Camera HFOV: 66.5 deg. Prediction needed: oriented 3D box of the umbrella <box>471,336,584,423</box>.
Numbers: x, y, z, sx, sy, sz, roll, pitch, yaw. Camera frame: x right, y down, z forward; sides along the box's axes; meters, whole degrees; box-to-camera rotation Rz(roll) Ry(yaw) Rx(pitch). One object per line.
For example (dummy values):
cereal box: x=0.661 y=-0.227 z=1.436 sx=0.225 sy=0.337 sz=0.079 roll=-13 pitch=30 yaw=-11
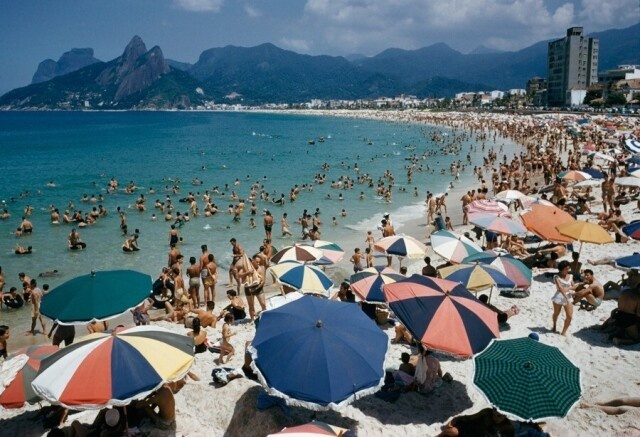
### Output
umbrella: x=5.135 y=4.055 z=12.248 sx=2.148 sy=1.017 sz=2.201 roll=31 pitch=65 yaw=24

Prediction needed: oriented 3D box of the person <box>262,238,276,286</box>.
person: x=-2.065 y=1.857 z=19.852 sx=0.651 sy=1.752 sz=0.694 roll=5 pitch=57 yaw=4

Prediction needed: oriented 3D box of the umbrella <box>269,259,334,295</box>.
umbrella: x=-0.651 y=2.079 z=16.711 sx=2.002 sy=0.891 sz=1.131 roll=-1 pitch=11 yaw=19

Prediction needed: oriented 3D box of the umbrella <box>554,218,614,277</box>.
umbrella: x=9.385 y=0.779 z=17.443 sx=1.140 sy=0.874 sz=1.150 roll=7 pitch=24 yaw=-20

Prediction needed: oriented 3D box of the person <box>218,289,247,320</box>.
person: x=-3.216 y=3.224 z=18.007 sx=0.416 sy=0.917 sz=0.736 roll=-33 pitch=58 yaw=-27

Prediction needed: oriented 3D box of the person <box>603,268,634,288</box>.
person: x=10.411 y=2.103 z=17.012 sx=0.402 sy=0.261 sz=0.707 roll=31 pitch=-10 yaw=12

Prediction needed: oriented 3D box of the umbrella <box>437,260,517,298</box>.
umbrella: x=5.081 y=1.884 z=15.778 sx=1.305 sy=0.574 sz=1.319 roll=15 pitch=0 yaw=-29

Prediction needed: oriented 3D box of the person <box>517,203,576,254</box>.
person: x=8.435 y=0.166 z=18.296 sx=1.438 sy=0.689 sz=1.487 roll=4 pitch=37 yaw=-2

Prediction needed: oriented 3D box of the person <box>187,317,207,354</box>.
person: x=-3.771 y=3.653 z=15.097 sx=0.612 sy=1.602 sz=0.911 roll=-4 pitch=43 yaw=-15

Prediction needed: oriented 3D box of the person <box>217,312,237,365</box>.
person: x=-2.918 y=3.654 z=15.381 sx=0.521 sy=1.409 sz=1.435 roll=-4 pitch=10 yaw=1

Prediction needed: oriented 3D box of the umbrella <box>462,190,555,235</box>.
umbrella: x=7.107 y=-0.032 z=20.077 sx=2.277 sy=0.933 sz=2.172 roll=-20 pitch=34 yaw=-23

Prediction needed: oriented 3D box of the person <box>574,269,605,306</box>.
person: x=8.865 y=2.305 z=16.223 sx=1.108 sy=1.169 sz=0.641 roll=7 pitch=11 yaw=13

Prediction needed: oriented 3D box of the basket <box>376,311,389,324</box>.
basket: x=2.148 y=3.433 z=16.791 sx=0.398 sy=0.351 sz=0.385 roll=-3 pitch=1 yaw=10

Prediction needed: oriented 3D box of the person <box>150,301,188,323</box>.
person: x=-5.564 y=3.478 z=17.713 sx=1.349 sy=0.733 sz=0.676 roll=-8 pitch=6 yaw=21

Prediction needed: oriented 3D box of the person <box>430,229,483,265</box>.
person: x=5.022 y=1.036 z=18.200 sx=1.252 sy=0.633 sz=1.306 roll=6 pitch=40 yaw=1

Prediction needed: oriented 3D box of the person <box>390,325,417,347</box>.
person: x=2.595 y=3.644 z=15.048 sx=0.698 sy=0.310 sz=0.935 roll=25 pitch=-9 yaw=35

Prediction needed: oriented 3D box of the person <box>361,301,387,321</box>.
person: x=1.839 y=3.266 z=16.768 sx=0.830 sy=0.447 sz=0.714 roll=10 pitch=14 yaw=42

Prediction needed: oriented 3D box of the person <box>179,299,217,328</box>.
person: x=-4.157 y=3.461 z=17.073 sx=1.359 sy=0.874 sz=1.233 roll=-7 pitch=-7 yaw=-9

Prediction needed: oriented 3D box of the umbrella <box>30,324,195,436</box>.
umbrella: x=-5.137 y=4.001 z=13.301 sx=2.795 sy=2.049 sz=2.940 roll=1 pitch=21 yaw=0

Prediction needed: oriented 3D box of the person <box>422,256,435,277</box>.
person: x=4.165 y=1.890 z=18.828 sx=0.506 sy=0.818 sz=0.486 roll=-11 pitch=36 yaw=12

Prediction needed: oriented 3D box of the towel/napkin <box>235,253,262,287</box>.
towel/napkin: x=-2.620 y=1.805 z=17.547 sx=0.908 sy=0.949 sz=1.339 roll=3 pitch=-24 yaw=1
